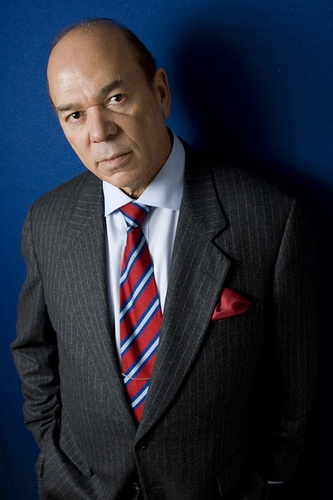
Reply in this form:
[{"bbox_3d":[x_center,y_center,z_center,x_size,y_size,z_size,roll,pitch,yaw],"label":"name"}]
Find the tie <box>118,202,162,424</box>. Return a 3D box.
[{"bbox_3d":[-0.069,0.149,1.213,0.096,0.546,0.053,-6,-16,9],"label":"tie"}]
